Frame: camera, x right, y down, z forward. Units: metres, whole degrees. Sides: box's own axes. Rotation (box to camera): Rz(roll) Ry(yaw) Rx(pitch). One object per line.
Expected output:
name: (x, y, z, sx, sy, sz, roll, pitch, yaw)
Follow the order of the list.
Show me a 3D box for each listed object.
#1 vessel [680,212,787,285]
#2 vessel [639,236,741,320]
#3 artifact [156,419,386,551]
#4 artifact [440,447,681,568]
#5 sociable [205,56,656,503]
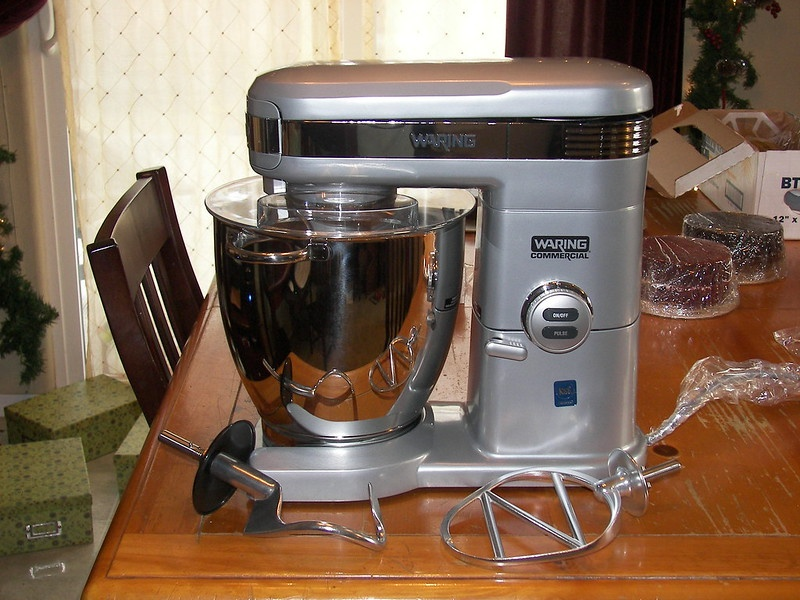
vessel: (0.663, -0.120, 1.332, 0.149, 0.081, 0.158, 5, 25, 19)
vessel: (0.521, -0.037, 1.245, 0.206, 0.097, 0.212, 10, 18, 34)
artifact: (-0.147, 0.171, 0.748, 0.232, 0.092, 0.103, 24, 3, 17)
artifact: (0.168, 0.171, 0.701, 0.225, 0.072, 0.120, -17, 26, -19)
sociable: (0.048, -0.082, 0.907, 0.541, 0.537, 0.398, 1, 23, 1)
